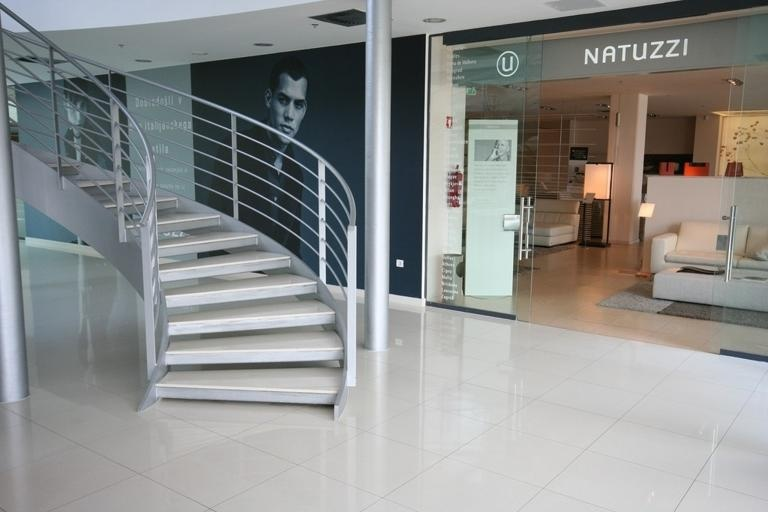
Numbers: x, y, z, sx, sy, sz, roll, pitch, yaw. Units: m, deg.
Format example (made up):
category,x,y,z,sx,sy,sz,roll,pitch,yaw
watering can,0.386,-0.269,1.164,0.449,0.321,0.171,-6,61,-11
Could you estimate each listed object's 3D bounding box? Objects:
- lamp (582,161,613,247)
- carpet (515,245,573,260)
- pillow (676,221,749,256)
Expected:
category,x,y,z,sx,sy,sz,roll,pitch,yaw
lamp,5.304,-1.319,13.760,0.705,1.998,1.033,2,14,22
carpet,3.903,-0.163,12.952,0.733,0.148,2.258,5,14,34
pillow,4.696,-0.245,7.900,0.622,0.232,0.264,5,40,21
